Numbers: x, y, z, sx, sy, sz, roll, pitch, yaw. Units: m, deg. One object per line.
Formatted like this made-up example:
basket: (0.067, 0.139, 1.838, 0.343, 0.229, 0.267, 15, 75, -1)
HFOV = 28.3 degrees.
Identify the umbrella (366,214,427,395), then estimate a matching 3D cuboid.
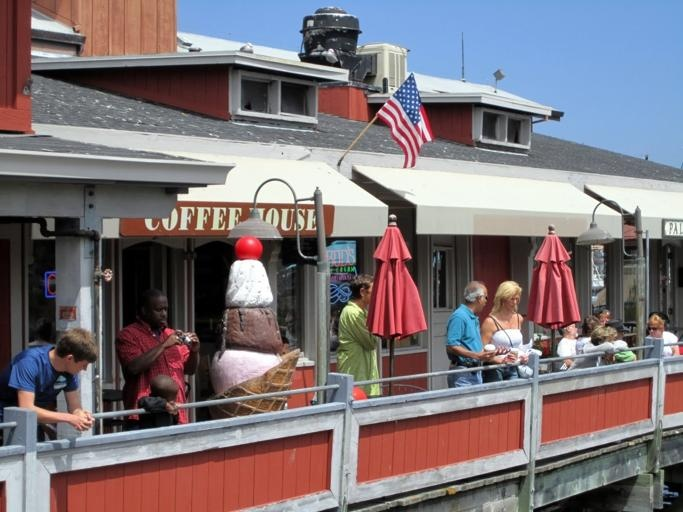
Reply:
umbrella: (0.702, 0.599, 15.870, 0.651, 2.001, 0.776, 2, 5, -16)

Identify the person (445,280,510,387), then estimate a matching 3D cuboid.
person: (1.572, 0.934, 15.862, 0.557, 1.200, 0.598, 0, 1, 16)

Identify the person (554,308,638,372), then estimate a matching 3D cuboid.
person: (3.275, 1.191, 17.487, 0.970, 0.534, 1.931, 5, 12, 9)

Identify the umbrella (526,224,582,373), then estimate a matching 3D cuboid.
umbrella: (2.772, 0.513, 17.678, 0.593, 1.756, 0.671, 4, 6, 31)

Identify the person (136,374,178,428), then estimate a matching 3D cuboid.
person: (-1.850, 1.574, 13.675, 0.416, 0.648, 0.943, 1, 12, -8)

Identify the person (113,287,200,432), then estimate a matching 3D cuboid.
person: (-1.908, 1.099, 14.329, 0.778, 1.565, 0.773, 13, 7, 33)

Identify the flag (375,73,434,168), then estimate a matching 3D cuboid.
flag: (0.897, -1.904, 19.107, 0.749, 1.340, 0.410, 3, 11, 1)

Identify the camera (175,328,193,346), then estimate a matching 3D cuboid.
camera: (-1.640, 0.884, 14.083, 0.138, 0.197, 0.300, 4, 11, 6)
